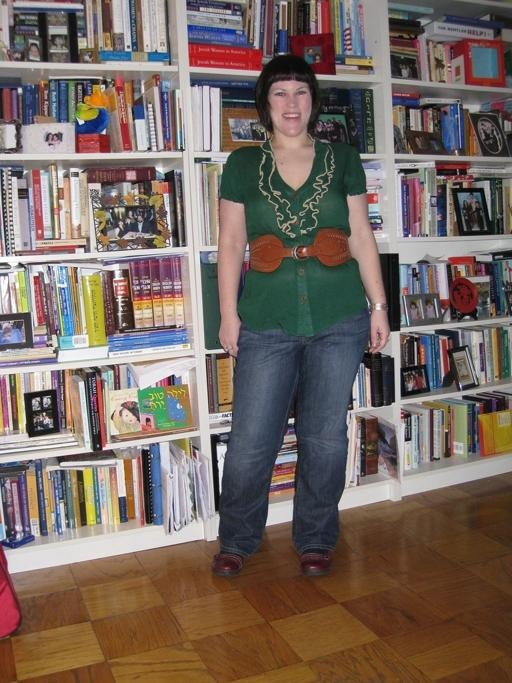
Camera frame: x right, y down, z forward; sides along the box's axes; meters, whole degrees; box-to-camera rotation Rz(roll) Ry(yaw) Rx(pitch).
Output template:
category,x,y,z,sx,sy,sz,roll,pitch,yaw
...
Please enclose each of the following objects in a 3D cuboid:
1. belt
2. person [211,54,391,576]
category,x,y,z,sx,sy,sz,roll,pitch,yaw
belt,0.112,-0.243,1.511,0.270,0.109,0.101,-2,13,8
person,0.113,0.026,1.590,0.501,1.225,0.336,-1,13,12
